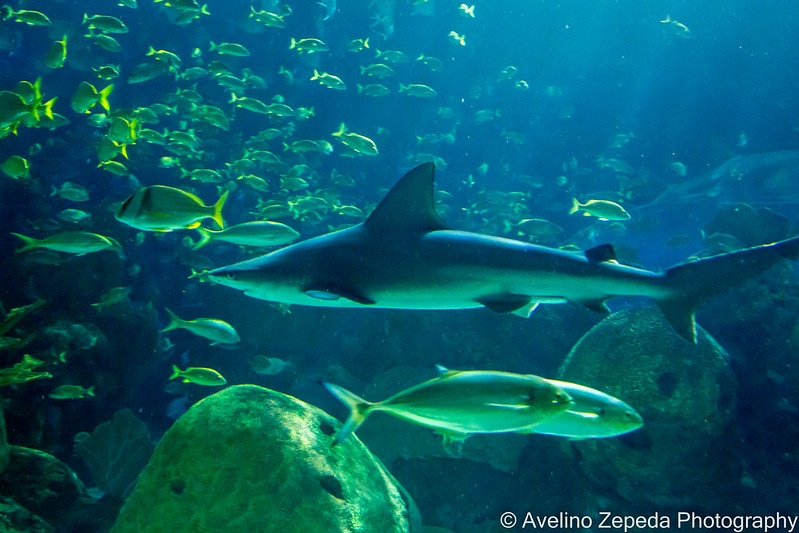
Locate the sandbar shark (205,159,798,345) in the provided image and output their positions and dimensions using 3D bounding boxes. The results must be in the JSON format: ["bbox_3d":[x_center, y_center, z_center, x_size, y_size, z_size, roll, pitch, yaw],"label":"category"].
[{"bbox_3d":[2.236,0.305,21.228,13.700,4.634,2.031,-6,38,10],"label":"sandbar shark"}]
